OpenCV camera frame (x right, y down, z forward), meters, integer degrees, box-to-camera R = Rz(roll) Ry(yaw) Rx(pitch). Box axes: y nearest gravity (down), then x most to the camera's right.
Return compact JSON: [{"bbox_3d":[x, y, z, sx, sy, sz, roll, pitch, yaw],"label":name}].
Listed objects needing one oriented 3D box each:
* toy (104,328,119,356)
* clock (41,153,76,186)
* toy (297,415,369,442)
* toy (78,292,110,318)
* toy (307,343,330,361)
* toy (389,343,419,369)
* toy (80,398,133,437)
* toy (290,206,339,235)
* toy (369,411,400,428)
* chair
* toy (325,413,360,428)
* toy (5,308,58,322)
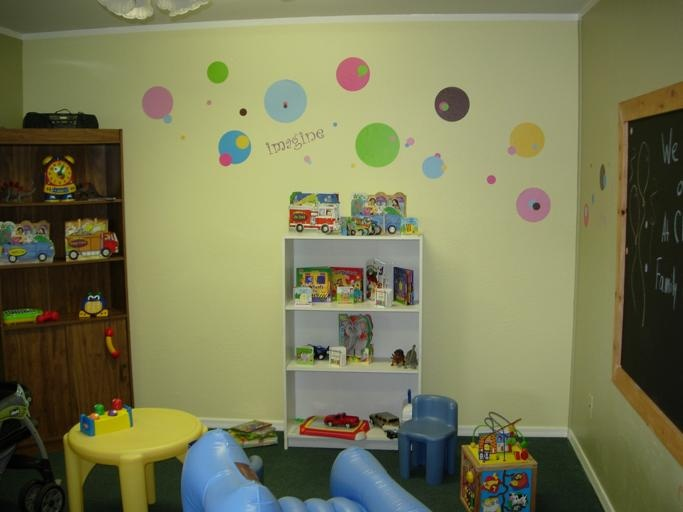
[{"bbox_3d":[-1.915,0.731,4.621,0.105,0.247,0.055,1,2,-14],"label":"toy"},{"bbox_3d":[-2.322,-0.678,4.557,0.215,0.241,0.119,0,2,-31],"label":"clock"},{"bbox_3d":[-0.070,1.413,4.645,0.601,0.169,0.294,1,2,6],"label":"toy"},{"bbox_3d":[-2.089,0.442,4.729,0.287,0.322,0.163,1,-3,-15],"label":"toy"},{"bbox_3d":[-0.201,0.834,4.787,0.180,0.110,0.151,1,2,-5],"label":"toy"},{"bbox_3d":[0.526,0.848,4.607,0.127,0.148,0.192,-2,-14,24],"label":"toy"},{"bbox_3d":[-1.597,1.098,3.808,0.331,0.226,0.190,3,-2,-37],"label":"toy"},{"bbox_3d":[-0.209,-0.292,4.671,0.317,0.189,0.215,0,4,4],"label":"toy"},{"bbox_3d":[0.362,1.368,4.675,0.115,0.092,0.181,0,4,-43],"label":"toy"},{"bbox_3d":[0.674,1.373,4.349,0.526,0.736,0.524,0,-2,34],"label":"chair"},{"bbox_3d":[0.002,1.369,4.644,0.209,0.085,0.122,2,-2,7],"label":"toy"},{"bbox_3d":[-2.548,0.488,4.500,0.270,0.083,0.173,1,-1,-18],"label":"toy"}]
